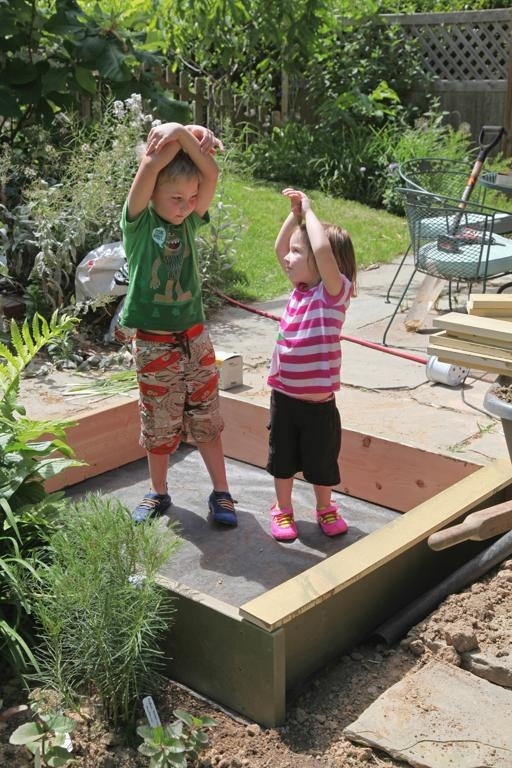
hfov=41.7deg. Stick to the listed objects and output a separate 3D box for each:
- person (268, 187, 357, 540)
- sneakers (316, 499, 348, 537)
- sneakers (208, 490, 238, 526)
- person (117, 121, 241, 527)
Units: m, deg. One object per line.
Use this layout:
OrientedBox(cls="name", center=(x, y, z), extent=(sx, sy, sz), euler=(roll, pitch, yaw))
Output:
OrientedBox(cls="person", center=(0.175, -0.060, 2.105), extent=(0.265, 1.069, 0.345), euler=(1, 15, 1))
OrientedBox(cls="sneakers", center=(0.246, 0.435, 2.175), extent=(0.064, 0.047, 0.126), euler=(-10, 14, -13))
OrientedBox(cls="sneakers", center=(-0.109, 0.414, 2.200), extent=(0.059, 0.061, 0.145), euler=(1, 2, -18))
OrientedBox(cls="person", center=(-0.246, -0.168, 2.100), extent=(0.349, 1.238, 0.224), euler=(-8, 17, -32))
